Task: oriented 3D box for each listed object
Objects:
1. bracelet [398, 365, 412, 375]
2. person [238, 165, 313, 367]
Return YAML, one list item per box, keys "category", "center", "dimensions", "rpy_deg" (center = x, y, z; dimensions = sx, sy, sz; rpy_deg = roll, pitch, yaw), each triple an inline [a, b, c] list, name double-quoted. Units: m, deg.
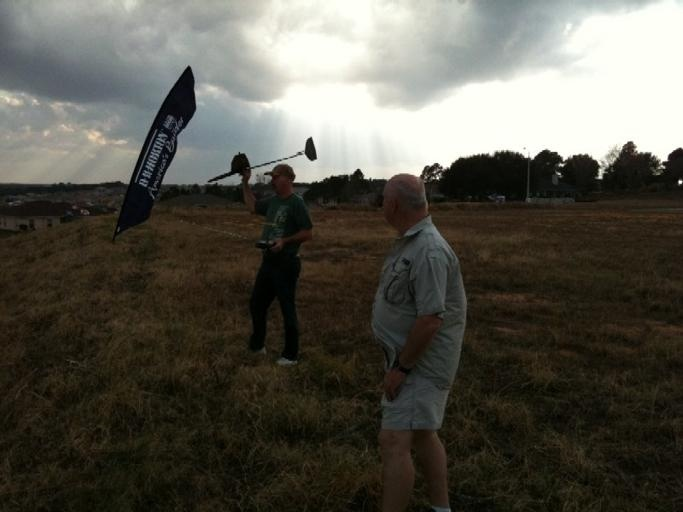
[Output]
- category: "bracelet"
  center: [0.484, 0.873, 3.466]
  dimensions: [0.106, 0.071, 0.030]
  rpy_deg: [4, 8, 0]
- category: "person"
  center: [-0.877, 0.117, 5.697]
  dimensions: [0.968, 2.340, 0.561]
  rpy_deg: [10, 10, 42]
